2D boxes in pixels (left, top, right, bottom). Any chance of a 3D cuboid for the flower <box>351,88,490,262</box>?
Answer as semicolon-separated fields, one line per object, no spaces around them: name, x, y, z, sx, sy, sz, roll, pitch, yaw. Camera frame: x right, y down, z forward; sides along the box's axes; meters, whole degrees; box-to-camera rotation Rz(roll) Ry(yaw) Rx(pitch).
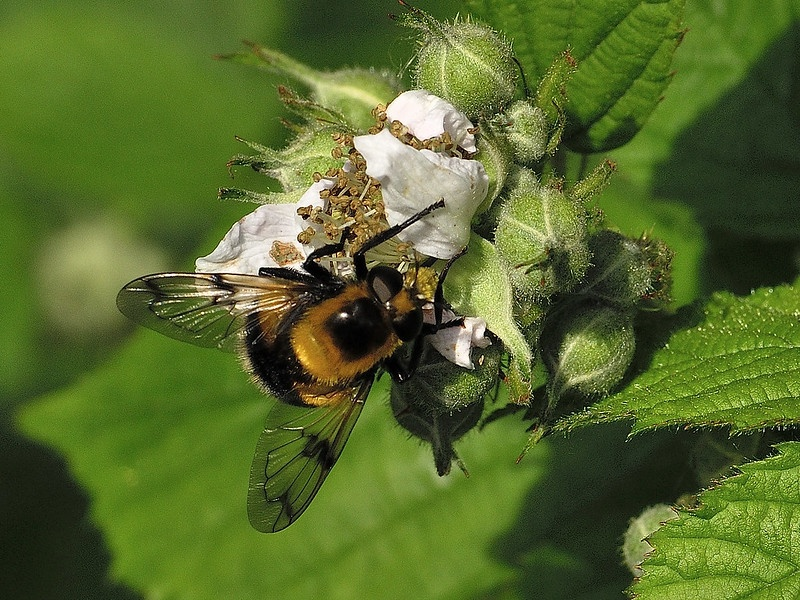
flower;0.071;-0.352;2.626;0.358;0.468;0.163;-8;-1;9
